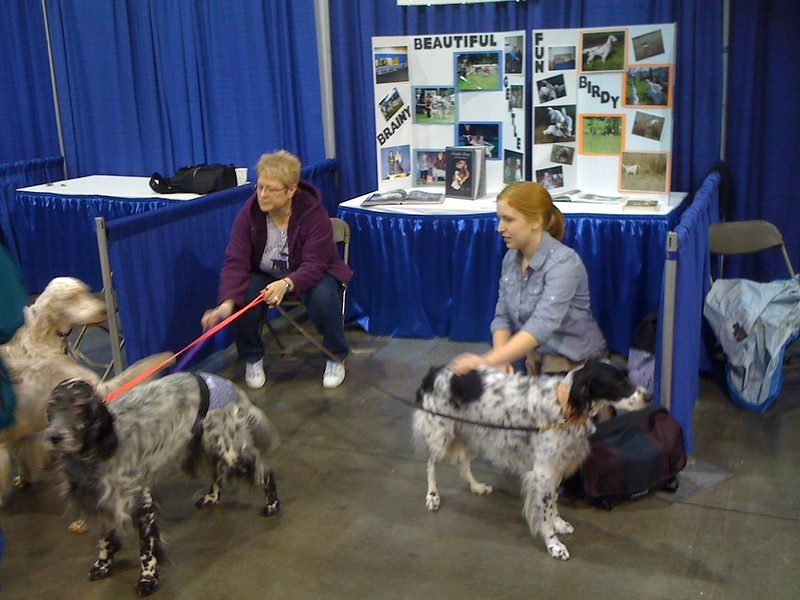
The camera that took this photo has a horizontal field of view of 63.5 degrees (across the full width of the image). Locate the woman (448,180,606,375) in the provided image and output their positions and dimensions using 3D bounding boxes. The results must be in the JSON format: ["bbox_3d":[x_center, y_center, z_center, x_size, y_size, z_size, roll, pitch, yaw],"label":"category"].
[{"bbox_3d":[0.773,-0.138,3.878,0.961,1.082,0.626,-23,29,-11],"label":"woman"}]

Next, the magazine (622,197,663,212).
[{"bbox_3d":[1.680,-0.671,4.529,0.228,0.048,0.390,4,16,19],"label":"magazine"}]

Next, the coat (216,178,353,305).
[{"bbox_3d":[-0.761,-0.407,4.448,0.673,0.767,0.857,6,29,9],"label":"coat"}]

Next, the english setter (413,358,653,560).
[{"bbox_3d":[0.540,0.662,3.104,1.092,0.980,0.457,8,21,30],"label":"english setter"}]

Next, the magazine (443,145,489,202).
[{"bbox_3d":[0.497,-1.009,5.071,0.378,0.509,0.355,4,15,19],"label":"magazine"}]

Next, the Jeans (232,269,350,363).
[{"bbox_3d":[-0.748,0.061,4.760,0.706,0.931,0.646,1,18,4],"label":"Jeans"}]

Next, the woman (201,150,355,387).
[{"bbox_3d":[-0.863,-0.211,4.509,0.971,1.607,1.088,-4,16,-15],"label":"woman"}]
